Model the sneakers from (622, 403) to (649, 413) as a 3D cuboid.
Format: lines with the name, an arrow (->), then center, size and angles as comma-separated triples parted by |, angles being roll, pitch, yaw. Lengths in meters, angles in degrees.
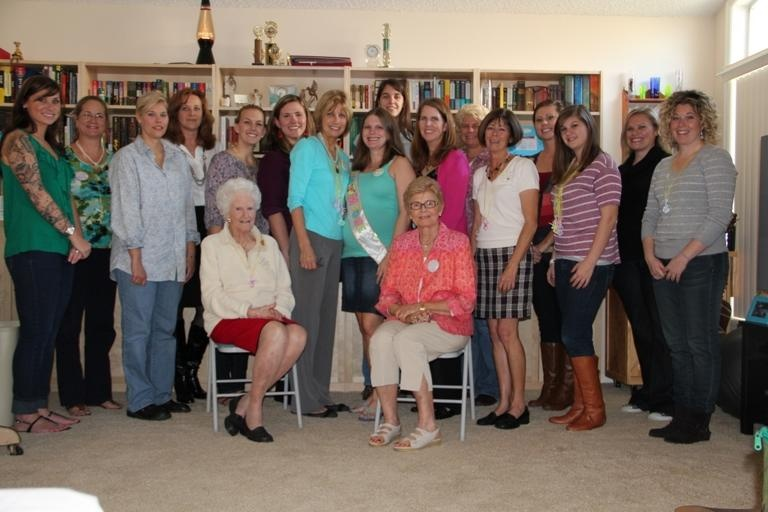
sneakers -> 1.880, 1.143, 5.028 | 0.172, 0.069, 0.063 | -2, 8, 2

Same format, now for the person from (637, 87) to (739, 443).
person -> 1.964, 0.051, 4.457 | 0.527, 2.255, 0.580 | -6, 10, -34

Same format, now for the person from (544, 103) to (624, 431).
person -> 1.381, 0.077, 4.587 | 0.443, 2.167, 0.462 | 1, 9, 6

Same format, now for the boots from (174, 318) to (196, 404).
boots -> -1.575, 0.777, 5.227 | 0.137, 0.693, 0.285 | -4, 10, -24

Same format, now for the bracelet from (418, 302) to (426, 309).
bracelet -> 0.238, 0.321, 4.284 | 0.036, 0.034, 0.009 | 2, -11, 13

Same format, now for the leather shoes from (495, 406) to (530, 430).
leather shoes -> 0.888, 1.117, 4.636 | 0.224, 0.085, 0.111 | 1, -2, -26

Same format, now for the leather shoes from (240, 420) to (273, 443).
leather shoes -> -0.832, 1.126, 4.358 | 0.197, 0.076, 0.111 | 7, 4, 32

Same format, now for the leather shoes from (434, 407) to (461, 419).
leather shoes -> 0.445, 1.122, 4.806 | 0.123, 0.042, 0.092 | 1, 2, 5

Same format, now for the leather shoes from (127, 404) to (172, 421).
leather shoes -> -1.664, 1.102, 4.722 | 0.238, 0.088, 0.124 | -1, 0, 1

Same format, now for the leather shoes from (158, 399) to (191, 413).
leather shoes -> -1.550, 1.102, 4.941 | 0.227, 0.090, 0.072 | -1, 14, -7

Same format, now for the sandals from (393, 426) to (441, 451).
sandals -> 0.205, 1.150, 4.261 | 0.293, 0.115, 0.116 | 0, -2, -25

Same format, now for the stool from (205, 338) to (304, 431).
stool -> -0.926, 0.876, 4.754 | 0.594, 0.558, 0.506 | 2, 3, -20

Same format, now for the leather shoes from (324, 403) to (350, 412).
leather shoes -> -0.352, 1.112, 4.954 | 0.176, 0.052, 0.064 | 0, 1, -4

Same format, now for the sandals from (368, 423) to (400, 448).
sandals -> -0.007, 1.143, 4.278 | 0.102, 0.091, 0.222 | -3, -5, 43

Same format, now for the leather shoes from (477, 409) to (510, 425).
leather shoes -> 0.751, 1.117, 4.645 | 0.226, 0.074, 0.080 | -2, 3, -10

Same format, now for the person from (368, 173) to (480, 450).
person -> 0.243, 0.354, 4.287 | 0.656, 1.678, 0.519 | 1, 9, 7

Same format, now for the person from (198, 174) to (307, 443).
person -> -0.861, 0.329, 4.526 | 0.563, 1.674, 0.683 | -7, 11, -40

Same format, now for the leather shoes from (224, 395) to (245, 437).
leather shoes -> -0.996, 1.066, 4.440 | 0.082, 0.267, 0.103 | -2, -22, -1

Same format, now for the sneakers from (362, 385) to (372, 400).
sneakers -> -0.138, 1.081, 5.320 | 0.055, 0.063, 0.150 | -2, -12, 15

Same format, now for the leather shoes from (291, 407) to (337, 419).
leather shoes -> -0.519, 1.125, 4.778 | 0.350, 0.089, 0.128 | -1, -2, 7

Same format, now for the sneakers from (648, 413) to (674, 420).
sneakers -> 1.977, 1.142, 4.797 | 0.112, 0.037, 0.062 | 3, -1, 12
